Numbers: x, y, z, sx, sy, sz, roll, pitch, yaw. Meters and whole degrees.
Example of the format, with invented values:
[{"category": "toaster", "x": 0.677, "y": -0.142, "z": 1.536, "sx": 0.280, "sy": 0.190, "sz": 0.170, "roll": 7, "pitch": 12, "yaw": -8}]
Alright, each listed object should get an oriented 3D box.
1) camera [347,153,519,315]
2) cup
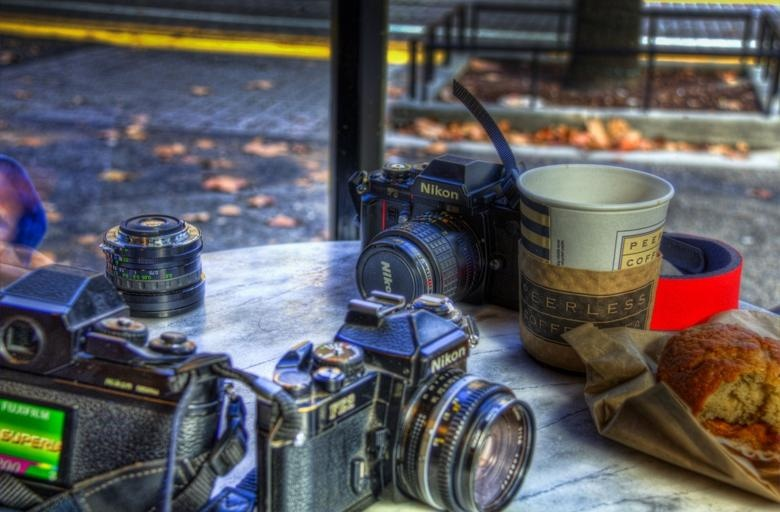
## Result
[{"category": "camera", "x": 0.143, "y": -0.109, "z": 1.878, "sx": 0.614, "sy": 0.308, "sz": 0.441, "roll": 11, "pitch": 19, "yaw": 32}, {"category": "cup", "x": 0.476, "y": 0.025, "z": 1.622, "sx": 0.339, "sy": 0.468, "sz": 0.291, "roll": 17, "pitch": 29, "yaw": 33}]
